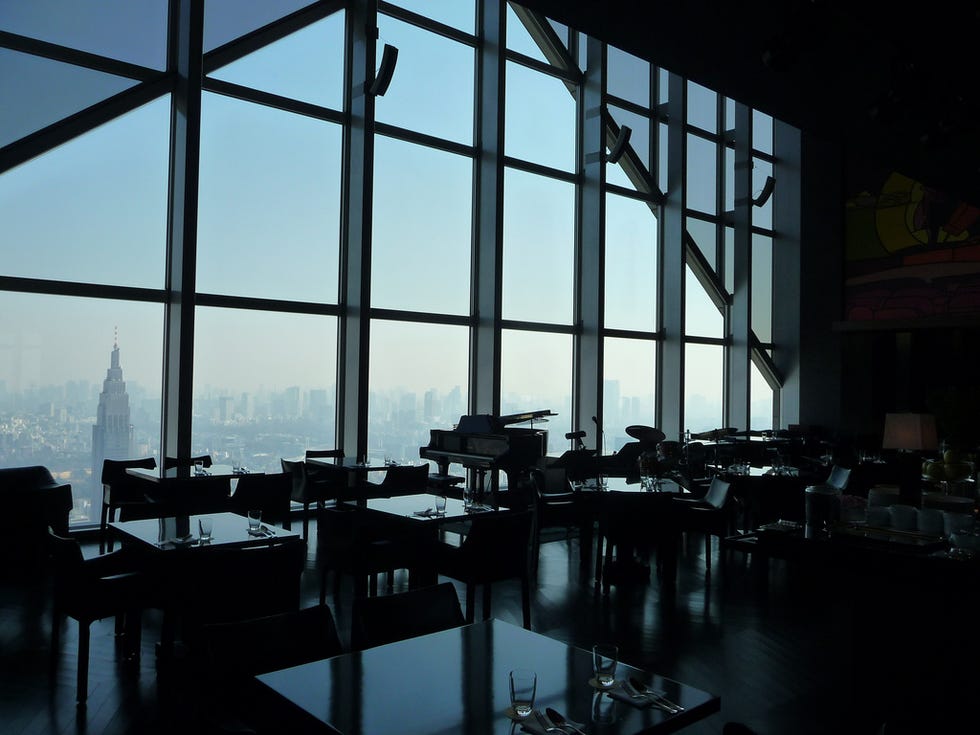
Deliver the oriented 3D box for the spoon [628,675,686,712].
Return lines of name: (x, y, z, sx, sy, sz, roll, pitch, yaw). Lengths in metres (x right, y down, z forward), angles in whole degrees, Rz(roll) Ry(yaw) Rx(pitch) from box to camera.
spoon: (0.758, 1.520, 4.123, 0.169, 0.067, 0.295, -2, 5, -33)

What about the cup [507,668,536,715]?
cup: (0.145, 1.456, 3.985, 0.147, 0.180, 0.156, 0, -9, 0)

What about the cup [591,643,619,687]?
cup: (0.547, 1.435, 4.287, 0.142, 0.143, 0.138, -1, -5, 0)
